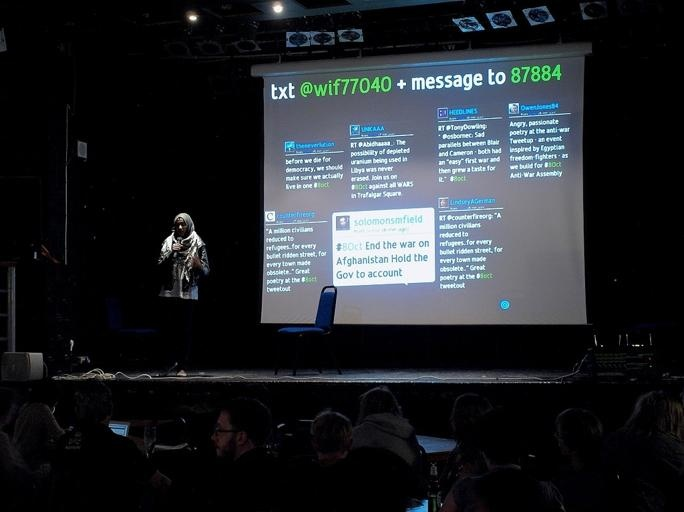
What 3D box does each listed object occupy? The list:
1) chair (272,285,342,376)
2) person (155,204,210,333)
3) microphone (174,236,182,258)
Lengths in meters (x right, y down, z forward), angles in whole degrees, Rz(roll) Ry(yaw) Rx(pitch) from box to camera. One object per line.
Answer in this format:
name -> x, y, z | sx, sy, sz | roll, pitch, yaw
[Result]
chair -> -0.362, 0.750, 7.198 | 0.558, 0.880, 0.525 | 3, -7, -31
person -> -1.746, 0.029, 7.488 | 0.504, 0.968, 0.952 | 1, -2, -15
microphone -> -1.752, -0.105, 7.272 | 0.126, 0.178, 0.045 | 0, -14, 13
